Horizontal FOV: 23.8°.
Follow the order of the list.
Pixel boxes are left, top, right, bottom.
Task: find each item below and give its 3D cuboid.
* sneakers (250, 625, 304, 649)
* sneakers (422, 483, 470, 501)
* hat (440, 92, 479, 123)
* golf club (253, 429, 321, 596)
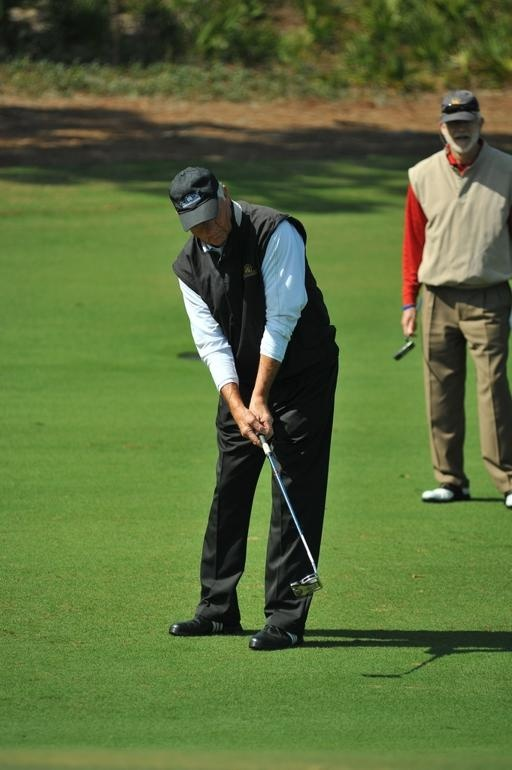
[{"bbox_3d":[0.064,0.763,3.616,0.163,0.062,0.054,-5,44,-16],"label":"sneakers"},{"bbox_3d":[0.778,0.444,4.993,0.210,0.079,0.072,3,-2,-23],"label":"sneakers"},{"bbox_3d":[0.777,-1.057,4.633,0.106,0.079,0.163,-3,8,18],"label":"hat"},{"bbox_3d":[0.100,0.413,3.564,0.167,0.469,0.295,0,14,0],"label":"golf club"}]
